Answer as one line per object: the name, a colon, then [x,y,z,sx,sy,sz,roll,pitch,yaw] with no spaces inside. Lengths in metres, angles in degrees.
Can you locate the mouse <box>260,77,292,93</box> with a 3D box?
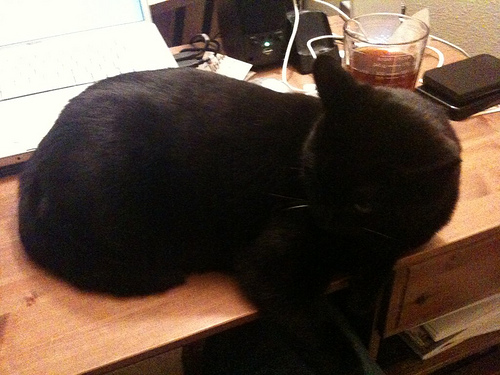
mouse: [0.047,-0.187,0.805,0.054,0.058,0.013,21,100,29]

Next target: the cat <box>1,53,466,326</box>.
cat: [-0.013,0.028,0.764,0.701,0.305,0.389,-5,45,-3]
